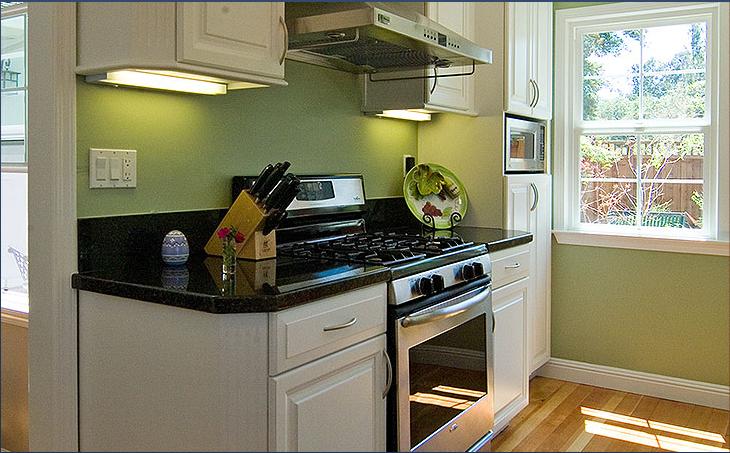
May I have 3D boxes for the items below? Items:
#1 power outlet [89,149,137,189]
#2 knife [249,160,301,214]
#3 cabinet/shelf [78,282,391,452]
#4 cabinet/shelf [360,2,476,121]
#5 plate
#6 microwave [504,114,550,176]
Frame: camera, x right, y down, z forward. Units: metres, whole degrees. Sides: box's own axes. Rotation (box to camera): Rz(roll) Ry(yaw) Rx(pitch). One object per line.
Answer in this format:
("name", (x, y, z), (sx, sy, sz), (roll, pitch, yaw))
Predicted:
("power outlet", (-1.146, -0.262, 2.375), (0.209, 0.179, 0.027), (-1, 2, -44))
("knife", (-0.415, -0.174, 2.498), (0.163, 0.297, 0.064), (43, 11, 16))
("cabinet/shelf", (-0.460, 0.537, 2.534), (0.925, 1.121, 0.894), (-2, -4, 26))
("cabinet/shelf", (0.291, -0.972, 3.070), (0.536, 0.728, 0.871), (0, 1, 26))
("plate", (0.477, -0.208, 3.573), (0.431, 0.417, 0.225), (4, 14, 1))
("microwave", (1.138, -0.590, 3.758), (0.310, 0.343, 0.545), (0, 3, 36))
